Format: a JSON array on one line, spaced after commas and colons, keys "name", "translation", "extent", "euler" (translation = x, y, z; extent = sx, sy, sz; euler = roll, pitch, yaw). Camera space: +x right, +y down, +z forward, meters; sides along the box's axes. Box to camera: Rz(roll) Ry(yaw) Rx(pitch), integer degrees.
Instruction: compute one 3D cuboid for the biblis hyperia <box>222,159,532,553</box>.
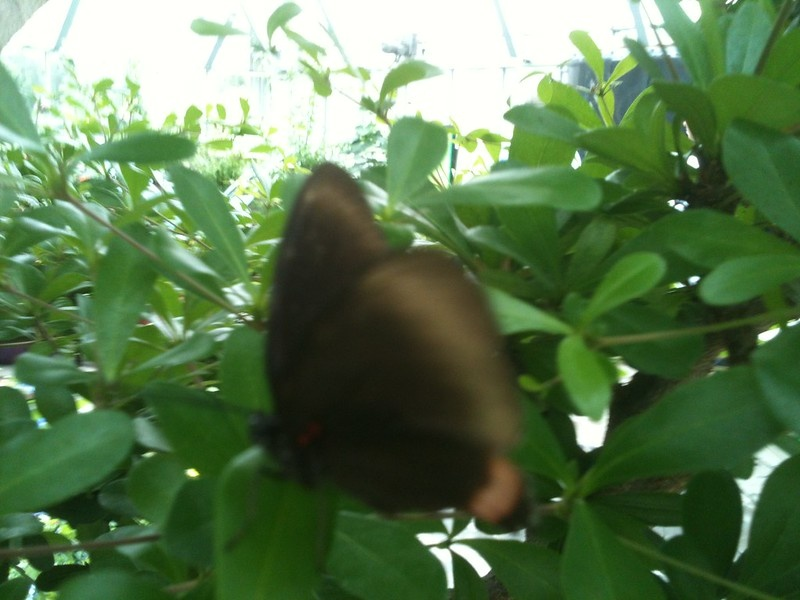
[{"name": "biblis hyperia", "translation": [0.022, 0.020, 0.588], "extent": [0.269, 0.321, 0.187], "euler": [9, 19, 17]}]
